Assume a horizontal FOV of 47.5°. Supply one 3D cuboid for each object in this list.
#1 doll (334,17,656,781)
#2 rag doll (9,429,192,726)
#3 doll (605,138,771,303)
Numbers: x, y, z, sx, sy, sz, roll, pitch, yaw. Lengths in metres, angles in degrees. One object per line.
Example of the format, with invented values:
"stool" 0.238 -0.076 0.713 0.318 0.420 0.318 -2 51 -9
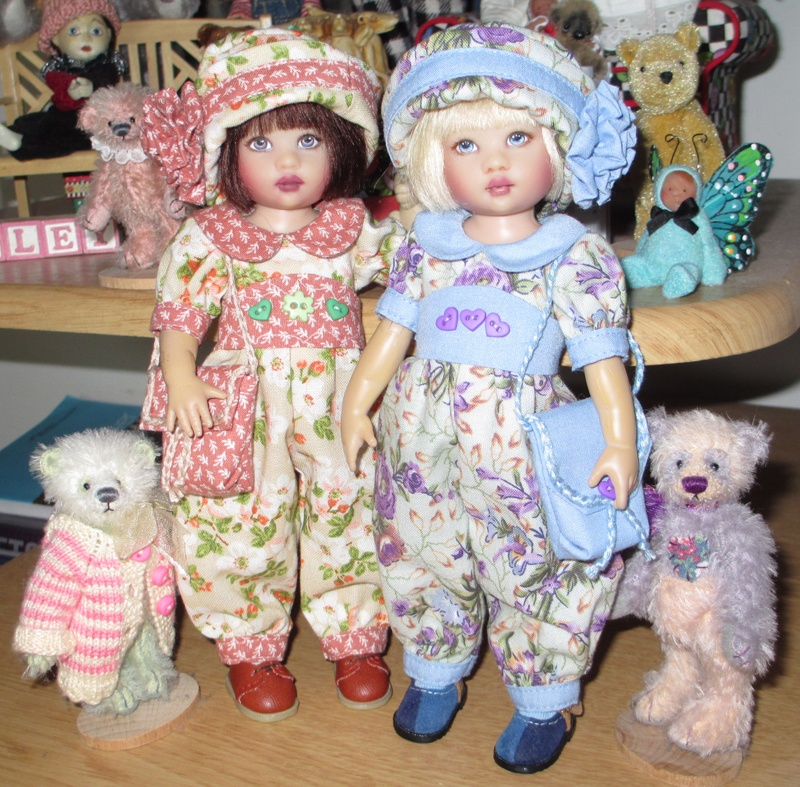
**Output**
"doll" 0.124 0.030 1.274 0.409 1.018 0.445 -4 28 -3
"rag doll" -0.476 0.295 1.416 0.256 0.455 0.251 -8 28 -12
"doll" 0.434 -0.286 1.439 0.235 0.209 0.221 -12 23 -16
